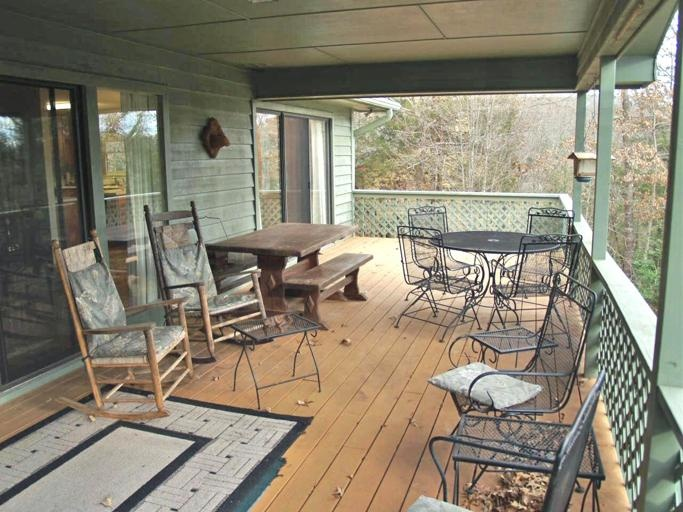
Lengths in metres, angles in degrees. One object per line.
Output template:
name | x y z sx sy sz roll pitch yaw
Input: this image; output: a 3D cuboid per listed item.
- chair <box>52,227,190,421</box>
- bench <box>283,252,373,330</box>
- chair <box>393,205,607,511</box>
chair | -1.647 0.550 3.890 1.120 1.291 0.913 6 11 24
bench | -0.093 0.382 6.001 0.627 0.533 1.869 5 12 20
chair | 1.259 0.748 3.867 1.014 1.533 2.183 3 8 17
